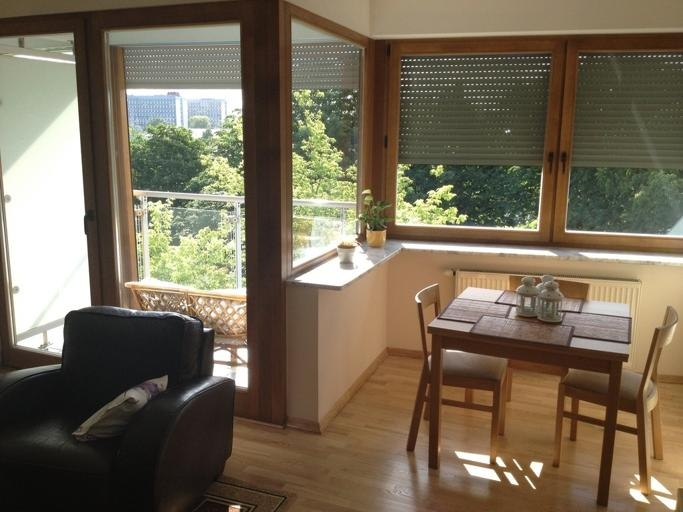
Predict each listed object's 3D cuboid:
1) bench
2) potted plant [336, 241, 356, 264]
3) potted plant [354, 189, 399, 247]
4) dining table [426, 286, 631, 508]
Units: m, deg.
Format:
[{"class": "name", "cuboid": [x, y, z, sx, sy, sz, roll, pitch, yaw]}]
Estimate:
[{"class": "bench", "cuboid": [-1.252, 0.446, 4.618, 0.805, 0.736, 0.770, 6, 9, 40]}, {"class": "potted plant", "cuboid": [0.035, -0.031, 4.301, 0.138, 0.121, 0.154, -1, 11, -8]}, {"class": "potted plant", "cuboid": [0.275, -0.355, 4.997, 0.465, 0.539, 0.432, -5, 6, -36]}, {"class": "dining table", "cuboid": [1.278, 0.745, 3.907, 1.181, 1.070, 1.184, 5, 12, 19]}]
